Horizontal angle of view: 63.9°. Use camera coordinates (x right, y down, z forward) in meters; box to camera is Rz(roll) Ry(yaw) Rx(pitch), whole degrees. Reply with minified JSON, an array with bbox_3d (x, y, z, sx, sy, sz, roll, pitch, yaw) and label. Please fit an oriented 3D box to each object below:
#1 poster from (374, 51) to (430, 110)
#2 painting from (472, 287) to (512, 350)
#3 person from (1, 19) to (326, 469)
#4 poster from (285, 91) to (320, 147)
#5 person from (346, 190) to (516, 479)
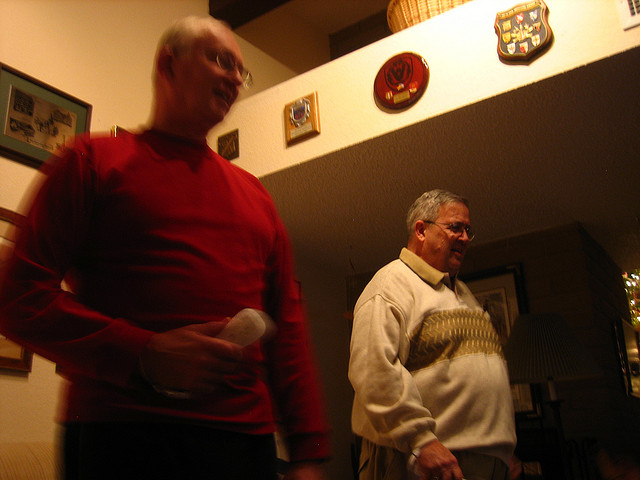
[{"bbox_3d":[0.310,-0.605,1.947,0.195,0.225,0.088,1,-4,35],"label":"poster"},{"bbox_3d":[0.492,0.230,1.464,0.148,0.185,0.007,-9,-26,18],"label":"painting"},{"bbox_3d":[-0.240,-0.026,0.947,0.528,0.829,0.266,3,-21,-2],"label":"person"},{"bbox_3d":[-0.069,-0.491,2.105,0.195,0.235,0.024,-15,-22,33],"label":"poster"},{"bbox_3d":[0.310,0.228,1.484,0.456,0.848,0.210,5,-21,-9],"label":"person"}]
